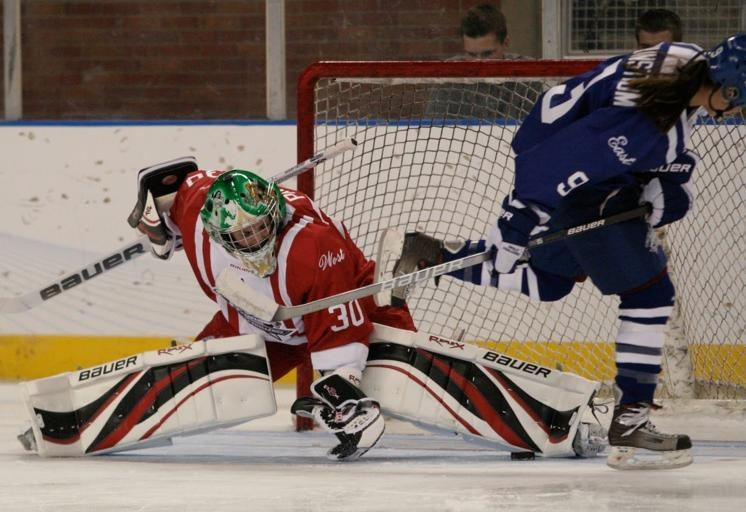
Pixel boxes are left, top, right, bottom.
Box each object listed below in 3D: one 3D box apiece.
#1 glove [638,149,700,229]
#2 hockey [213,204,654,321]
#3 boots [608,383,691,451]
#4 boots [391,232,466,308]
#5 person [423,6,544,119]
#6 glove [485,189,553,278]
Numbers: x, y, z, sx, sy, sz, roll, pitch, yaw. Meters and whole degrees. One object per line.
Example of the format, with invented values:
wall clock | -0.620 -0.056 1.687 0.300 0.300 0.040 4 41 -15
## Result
glove | 1.303 -0.274 5.490 0.134 0.324 0.280 28 -22 45
hockey | 0.268 0.022 5.844 1.606 0.181 0.219 -15 -1 -3
boots | 1.248 0.737 5.525 0.438 0.289 0.160 -4 -14 40
boots | 0.240 0.008 5.848 0.196 0.463 0.158 27 -14 -10
person | 0.623 -1.020 6.832 0.506 0.691 0.220 -4 -33 22
glove | 0.608 -0.103 5.520 0.155 0.246 0.353 -15 -29 -51
